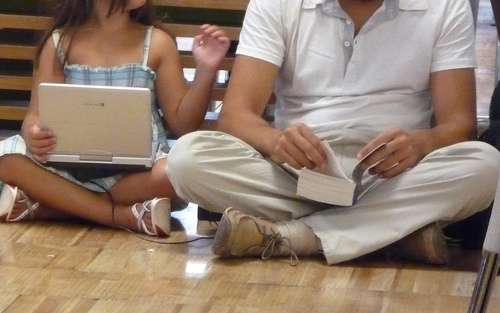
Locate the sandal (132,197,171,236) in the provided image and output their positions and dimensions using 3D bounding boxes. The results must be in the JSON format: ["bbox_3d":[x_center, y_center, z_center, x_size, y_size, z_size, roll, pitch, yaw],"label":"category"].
[{"bbox_3d":[-0.391,0.240,2.132,0.170,0.151,0.259,-5,18,-9],"label":"sandal"}]

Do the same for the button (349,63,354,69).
[{"bbox_3d":[0.419,-0.372,2.040,0.019,0.019,0.008,-8,33,-17],"label":"button"}]

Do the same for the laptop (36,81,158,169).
[{"bbox_3d":[-0.631,-0.159,2.190,0.517,0.344,0.394,0,12,-3],"label":"laptop"}]

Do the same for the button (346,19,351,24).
[{"bbox_3d":[0.409,-0.561,2.053,0.018,0.019,0.005,-2,-4,16],"label":"button"}]

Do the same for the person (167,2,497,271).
[{"bbox_3d":[0.335,-0.124,1.973,1.227,0.834,0.840,0,31,-4],"label":"person"}]

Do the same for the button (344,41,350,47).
[{"bbox_3d":[0.403,-0.467,2.048,0.021,0.022,0.005,-1,-5,13],"label":"button"}]
